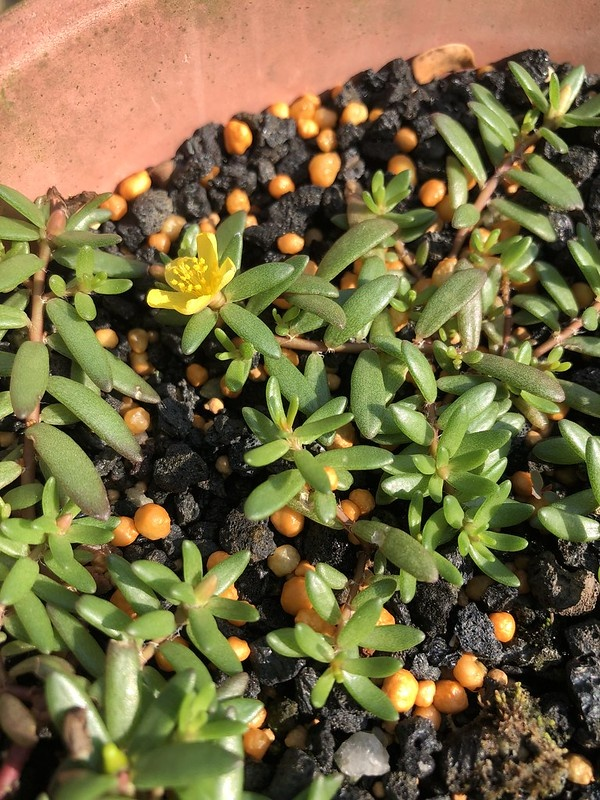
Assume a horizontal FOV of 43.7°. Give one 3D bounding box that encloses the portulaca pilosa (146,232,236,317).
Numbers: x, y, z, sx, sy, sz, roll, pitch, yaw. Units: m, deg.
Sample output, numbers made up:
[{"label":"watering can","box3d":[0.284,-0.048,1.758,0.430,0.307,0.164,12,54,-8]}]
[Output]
[{"label":"portulaca pilosa","box3d":[-0.270,-0.326,2.119,0.270,0.121,0.240,-28,58,22]}]
